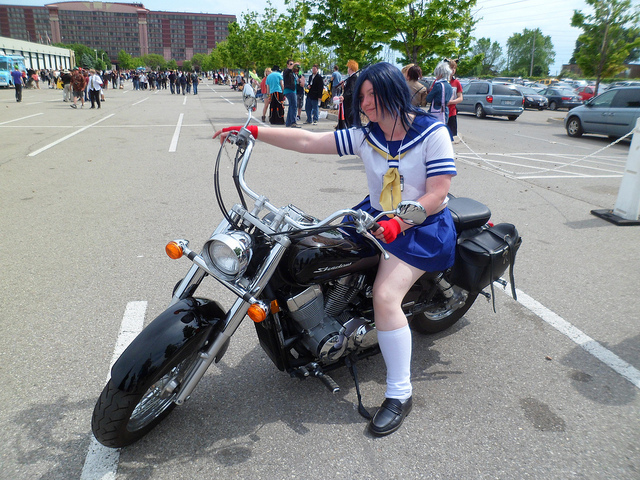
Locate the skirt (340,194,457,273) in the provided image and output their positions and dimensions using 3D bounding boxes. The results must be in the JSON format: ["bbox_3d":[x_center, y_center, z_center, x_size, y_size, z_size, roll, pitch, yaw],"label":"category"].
[{"bbox_3d":[0.566,-0.045,3.125,0.638,0.453,0.430,-6,-23,10],"label":"skirt"}]

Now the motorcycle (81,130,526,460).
[{"bbox_3d":[0.121,0.169,3.311,3.441,1.884,1.349,-14,34,-26],"label":"motorcycle"}]

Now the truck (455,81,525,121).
[{"bbox_3d":[8.253,-6.678,21.968,1.115,1.623,2.911,-20,31,-40],"label":"truck"}]
